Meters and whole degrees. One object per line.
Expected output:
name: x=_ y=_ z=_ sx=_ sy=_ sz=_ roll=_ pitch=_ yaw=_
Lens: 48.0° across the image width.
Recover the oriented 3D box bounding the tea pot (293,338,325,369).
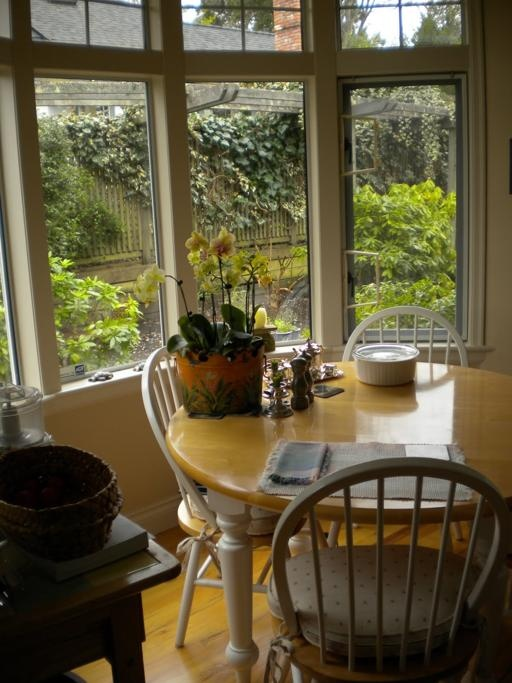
tea pot: x=0.163 y=0.047 z=1.931 sx=0.115 sy=0.115 sz=0.079 roll=0 pitch=5 yaw=21

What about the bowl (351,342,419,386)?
bowl: x=0.441 y=0.077 z=1.918 sx=0.201 sy=0.100 sz=0.209 roll=-6 pitch=8 yaw=1

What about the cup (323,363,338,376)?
cup: x=0.261 y=0.097 z=2.025 sx=0.043 sy=0.038 sz=0.042 roll=-1 pitch=10 yaw=0
